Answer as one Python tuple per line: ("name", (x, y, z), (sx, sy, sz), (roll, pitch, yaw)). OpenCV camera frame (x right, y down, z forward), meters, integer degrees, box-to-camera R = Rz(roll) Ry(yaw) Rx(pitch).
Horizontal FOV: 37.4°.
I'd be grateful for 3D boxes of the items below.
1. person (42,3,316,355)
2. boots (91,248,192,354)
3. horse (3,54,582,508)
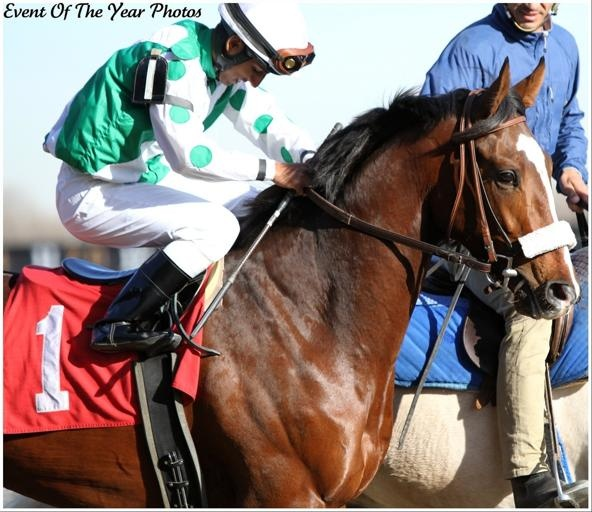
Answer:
("person", (-0.431, -0.399, 3.883), (1.401, 1.729, 1.003), (2, 3, 2))
("boots", (-0.621, 0.162, 3.235), (0.367, 0.411, 0.222), (-13, -20, 39))
("horse", (0.056, 0.141, 3.254), (1.883, 1.816, 0.523), (4, 6, 11))
